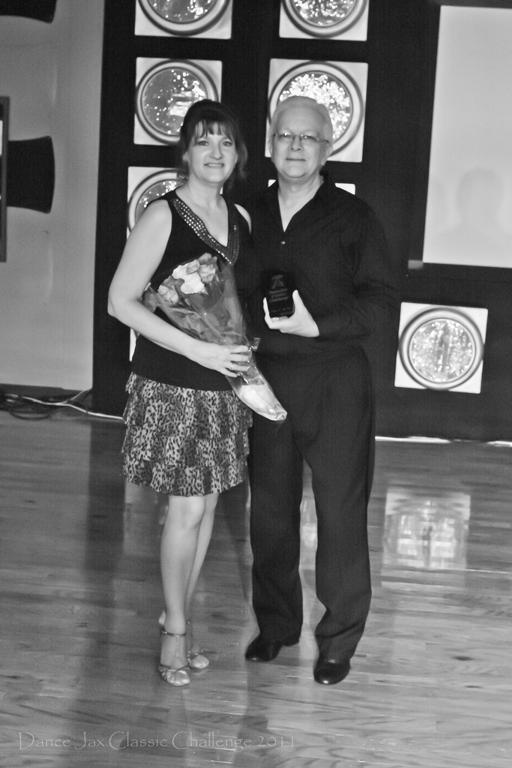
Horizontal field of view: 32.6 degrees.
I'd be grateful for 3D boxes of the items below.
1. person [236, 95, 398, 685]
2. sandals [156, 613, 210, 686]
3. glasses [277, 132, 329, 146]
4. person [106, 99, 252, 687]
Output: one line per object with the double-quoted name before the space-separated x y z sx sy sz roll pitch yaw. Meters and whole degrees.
"person" 0.093 0.021 1.543 0.253 1.009 0.208 5 14 12
"sandals" -0.132 0.488 1.567 0.046 0.065 0.150 -5 -5 -24
"glasses" 0.072 -0.405 1.435 0.088 0.020 0.026 2 14 2
"person" -0.125 0.021 1.525 0.255 0.994 0.227 -1 14 -11
